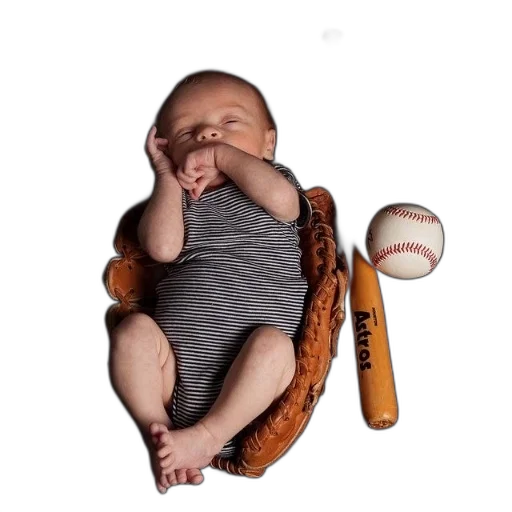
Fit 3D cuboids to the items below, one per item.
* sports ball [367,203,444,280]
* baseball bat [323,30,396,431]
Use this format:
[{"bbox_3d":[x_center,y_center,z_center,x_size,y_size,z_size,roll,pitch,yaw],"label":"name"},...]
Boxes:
[{"bbox_3d":[0.505,-0.029,2.064,0.212,0.233,0.261,1,88,-8],"label":"sports ball"},{"bbox_3d":[0.338,-0.174,2.212,0.112,0.097,1.495,-10,63,10],"label":"baseball bat"}]
